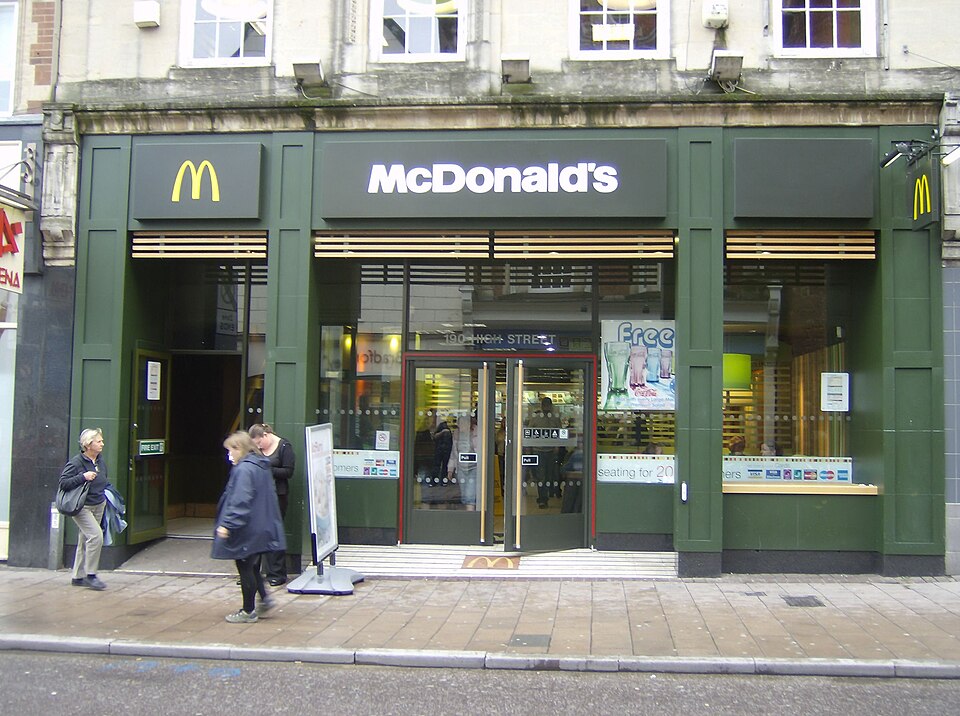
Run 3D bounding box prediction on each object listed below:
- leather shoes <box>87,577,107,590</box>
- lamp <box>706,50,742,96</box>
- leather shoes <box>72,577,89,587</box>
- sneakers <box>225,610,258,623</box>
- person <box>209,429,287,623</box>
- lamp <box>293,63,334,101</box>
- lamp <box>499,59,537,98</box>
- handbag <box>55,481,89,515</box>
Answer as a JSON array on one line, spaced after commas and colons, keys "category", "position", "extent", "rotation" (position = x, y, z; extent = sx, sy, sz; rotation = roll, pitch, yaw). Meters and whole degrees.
[{"category": "leather shoes", "position": [-5.068, 3.025, 14.461], "extent": [0.301, 0.130, 0.112], "rotation": [-1, -4, 30]}, {"category": "lamp", "position": [3.407, -3.980, 15.112], "extent": [0.482, 0.546, 0.403], "rotation": [0, -2, 6]}, {"category": "leather shoes", "position": [-5.330, 3.006, 14.504], "extent": [0.220, 0.113, 0.100], "rotation": [0, -2, -1]}, {"category": "sneakers", "position": [-2.869, 3.119, 13.085], "extent": [0.372, 0.157, 0.155], "rotation": [3, -6, -4]}, {"category": "person", "position": [-2.809, 2.042, 13.156], "extent": [0.815, 2.271, 0.758], "rotation": [0, -2, -10]}, {"category": "lamp", "position": [-2.396, -3.952, 15.574], "extent": [0.531, 0.464, 0.359], "rotation": [0, -2, -4]}, {"category": "lamp", "position": [0.544, -3.969, 15.490], "extent": [0.591, 0.583, 0.437], "rotation": [1, 12, 4]}, {"category": "handbag", "position": [-5.401, 1.872, 14.440], "extent": [0.487, 0.537, 0.181], "rotation": [3, -25, 7]}]
